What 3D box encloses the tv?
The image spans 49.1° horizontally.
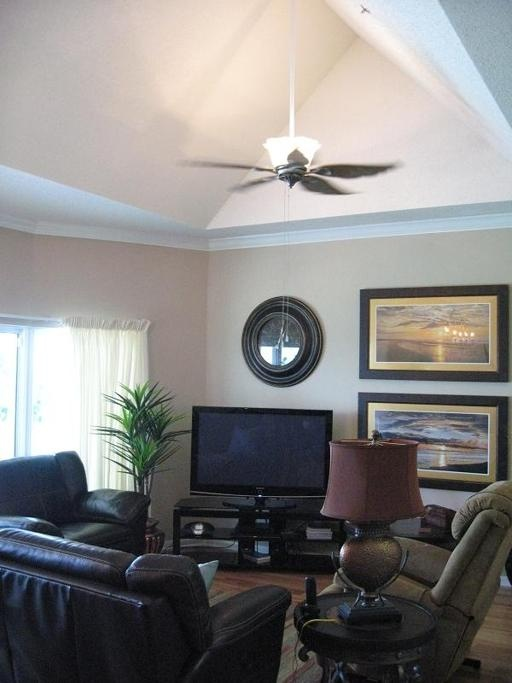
[{"bbox_3d":[0.054,0.916,4.379,0.963,0.623,0.069,2,-3,9],"label":"tv"}]

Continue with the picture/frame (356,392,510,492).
[{"bbox_3d":[1.233,0.646,3.629,0.862,0.570,0.037,0,-4,23],"label":"picture/frame"}]

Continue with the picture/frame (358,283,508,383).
[{"bbox_3d":[1.411,-0.060,4.326,0.830,0.565,0.033,0,1,26],"label":"picture/frame"}]

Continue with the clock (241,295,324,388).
[{"bbox_3d":[0.260,0.008,4.884,0.850,0.857,0.076,0,-4,27],"label":"clock"}]

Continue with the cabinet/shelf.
[{"bbox_3d":[0.033,1.560,4.451,1.378,0.590,0.480,0,-7,-3],"label":"cabinet/shelf"}]

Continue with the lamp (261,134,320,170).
[{"bbox_3d":[0.164,-0.898,2.640,0.226,0.166,0.209,2,-1,-9],"label":"lamp"}]
